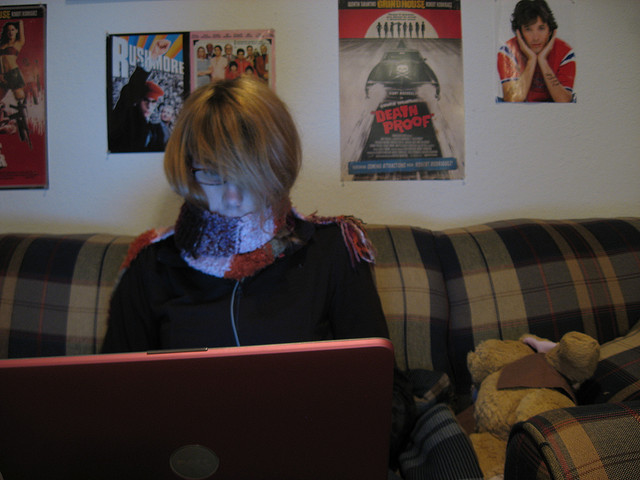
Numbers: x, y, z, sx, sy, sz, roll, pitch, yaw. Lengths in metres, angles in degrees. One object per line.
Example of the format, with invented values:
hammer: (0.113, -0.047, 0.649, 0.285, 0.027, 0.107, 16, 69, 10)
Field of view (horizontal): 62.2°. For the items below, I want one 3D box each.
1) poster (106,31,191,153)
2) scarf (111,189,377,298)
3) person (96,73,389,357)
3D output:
poster: (-0.733, -0.655, 2.263, 0.348, 0.510, 0.012, -2, -5, 1)
scarf: (-0.241, 0.162, 1.744, 0.759, 0.358, 0.323, -4, 1, 3)
person: (-0.299, -0.042, 1.846, 1.006, 1.002, 0.582, 2, 13, 10)
